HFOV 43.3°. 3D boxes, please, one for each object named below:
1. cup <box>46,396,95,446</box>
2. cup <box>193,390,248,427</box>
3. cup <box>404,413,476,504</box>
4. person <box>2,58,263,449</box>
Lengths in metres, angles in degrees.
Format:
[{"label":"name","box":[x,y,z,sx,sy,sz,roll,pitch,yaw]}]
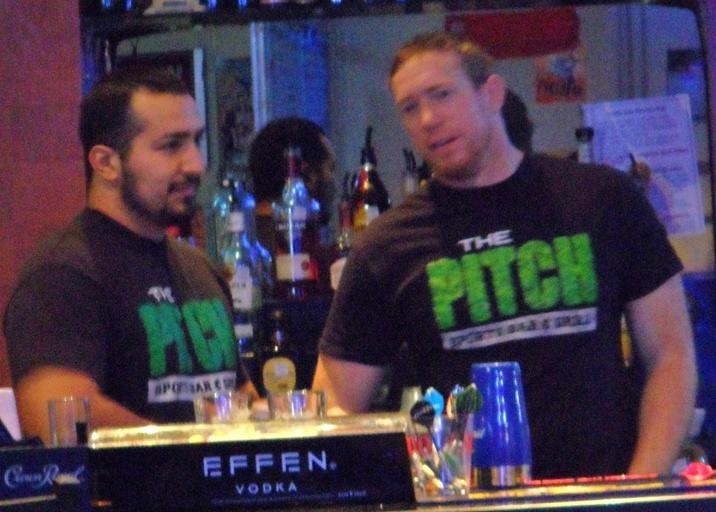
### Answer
[{"label":"cup","box":[-0.694,0.397,2.168,0.091,0.104,0.087,-3,-1,0]},{"label":"cup","box":[-0.325,0.352,2.137,0.088,0.058,0.090,-1,-2,0]},{"label":"cup","box":[0.158,0.472,2.091,0.183,0.221,0.162,-2,-18,0]},{"label":"person","box":[-0.737,-0.044,2.884,0.445,1.092,0.665,-4,-1,25]}]
